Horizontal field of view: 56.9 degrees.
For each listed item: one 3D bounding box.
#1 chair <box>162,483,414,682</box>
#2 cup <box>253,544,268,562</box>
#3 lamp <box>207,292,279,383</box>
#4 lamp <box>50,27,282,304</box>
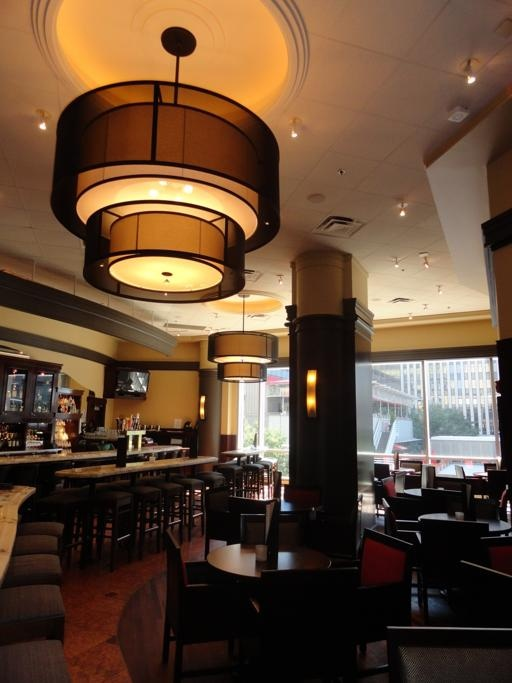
[{"bbox_3d":[0.112,1.493,2.905,1.155,0.746,1.178,1,1,5],"label":"chair"},{"bbox_3d":[0.028,1.405,3.150,0.084,0.096,0.083,0,-5,0],"label":"cup"},{"bbox_3d":[-0.171,0.023,8.796,1.036,1.494,1.074,-6,-19,19],"label":"lamp"},{"bbox_3d":[-0.513,-1.115,2.781,1.191,1.409,1.207,5,-20,-14],"label":"lamp"}]
